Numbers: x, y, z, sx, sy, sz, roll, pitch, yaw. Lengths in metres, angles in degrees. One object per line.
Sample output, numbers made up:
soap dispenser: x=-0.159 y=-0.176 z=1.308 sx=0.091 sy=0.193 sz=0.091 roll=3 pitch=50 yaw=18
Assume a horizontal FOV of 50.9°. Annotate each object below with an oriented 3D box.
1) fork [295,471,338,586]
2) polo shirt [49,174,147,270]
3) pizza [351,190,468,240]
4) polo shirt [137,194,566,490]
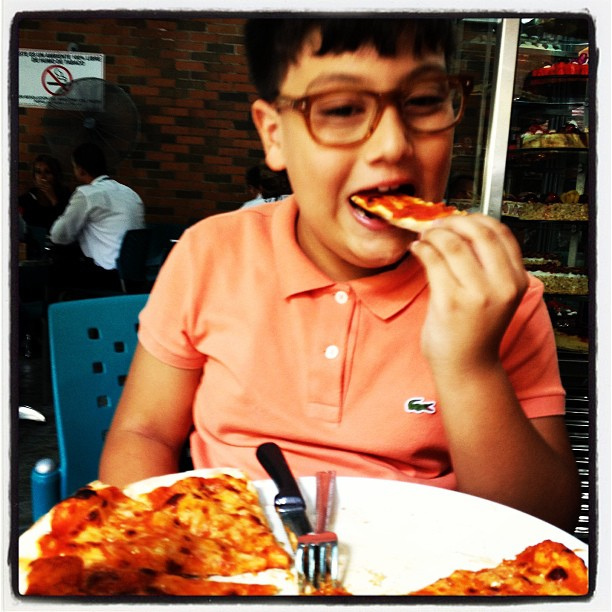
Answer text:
fork: x=0.024 y=0.399 z=1.154 sx=0.077 sy=0.184 sz=0.028 roll=-1 pitch=-26 yaw=3
polo shirt: x=-0.795 y=-0.364 z=2.566 sx=0.291 sy=0.277 sz=0.418 roll=19 pitch=21 yaw=30
pizza: x=0.215 y=-0.219 z=1.385 sx=0.163 sy=0.039 sz=0.287 roll=29 pitch=27 yaw=21
polo shirt: x=0.088 y=0.101 z=1.405 sx=0.942 sy=0.497 sz=0.359 roll=3 pitch=-3 yaw=1
